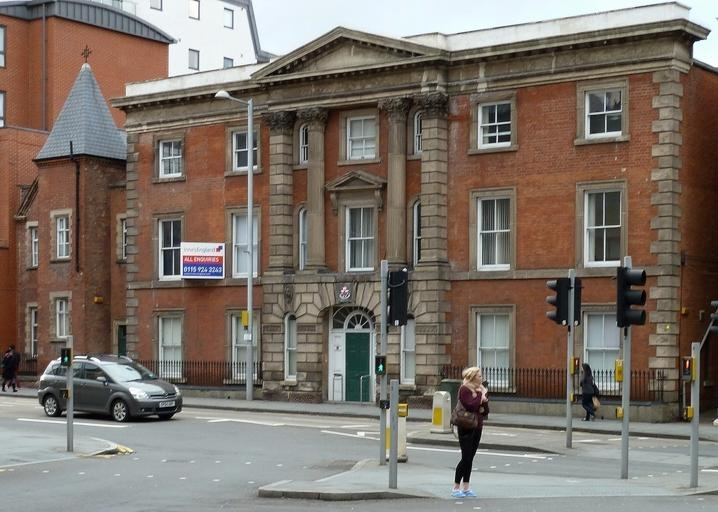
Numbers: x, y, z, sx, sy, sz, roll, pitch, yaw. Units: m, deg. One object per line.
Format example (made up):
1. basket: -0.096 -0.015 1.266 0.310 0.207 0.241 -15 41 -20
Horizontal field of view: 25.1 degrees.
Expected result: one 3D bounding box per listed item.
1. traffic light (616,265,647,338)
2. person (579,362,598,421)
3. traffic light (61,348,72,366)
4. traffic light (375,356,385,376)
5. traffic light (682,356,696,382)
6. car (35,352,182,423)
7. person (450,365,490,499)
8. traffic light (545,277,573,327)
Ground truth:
1. traffic light: 7.991 1.249 47.336 0.833 1.709 0.531 1 2 28
2. person: 8.434 4.995 58.919 0.611 2.087 1.044 -1 -7 8
3. traffic light: -9.243 3.229 50.940 0.297 0.574 0.337 0 -7 -6
4. traffic light: 0.636 3.191 46.713 0.256 0.557 0.447 1 -7 -8
5. traffic light: 9.559 3.292 46.457 0.411 0.696 0.263 -2 -7 14
6. car: -9.195 4.788 59.377 5.372 2.299 2.867 -2 0 33
7. person: 3.201 4.990 45.653 1.153 3.620 1.157 -3 -10 32
8. traffic light: 6.451 1.435 51.700 0.778 1.528 1.095 -1 -7 6
